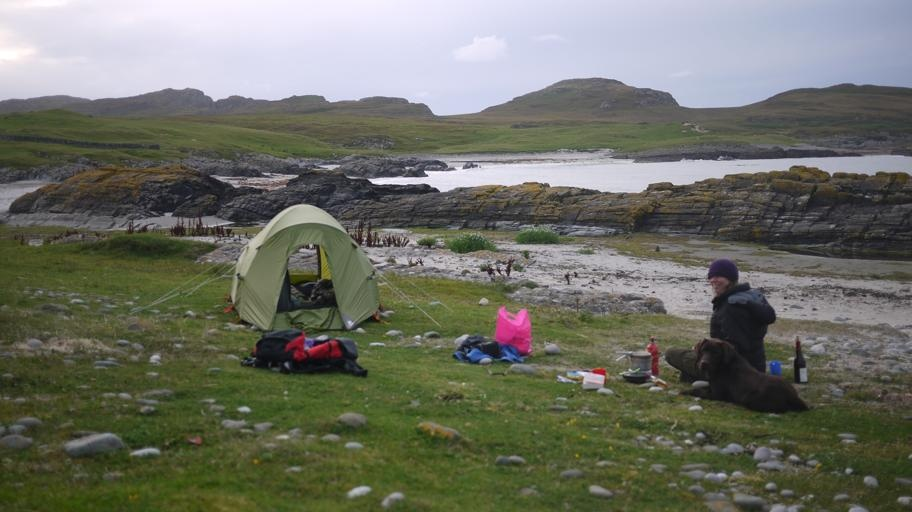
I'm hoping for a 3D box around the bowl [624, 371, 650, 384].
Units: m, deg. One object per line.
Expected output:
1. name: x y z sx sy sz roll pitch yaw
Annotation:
1. bowl: 5.857 3.892 20.675 0.836 0.397 0.339 3 8 4
